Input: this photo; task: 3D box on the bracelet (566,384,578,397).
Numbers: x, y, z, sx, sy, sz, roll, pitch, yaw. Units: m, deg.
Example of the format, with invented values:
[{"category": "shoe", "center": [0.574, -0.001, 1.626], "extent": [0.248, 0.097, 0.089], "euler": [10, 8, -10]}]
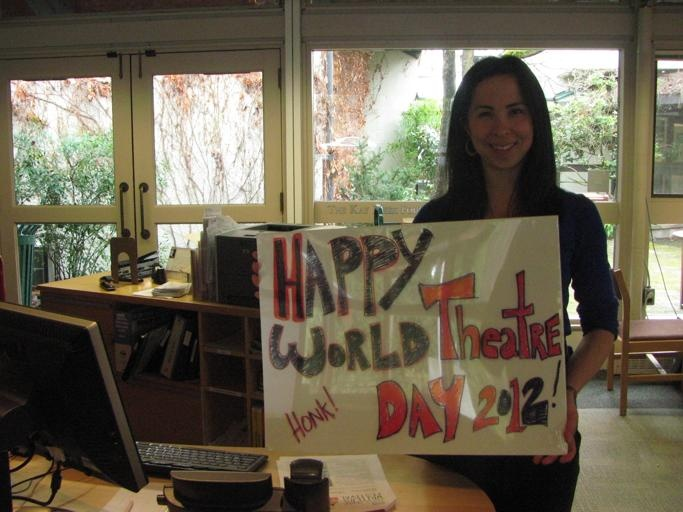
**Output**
[{"category": "bracelet", "center": [0.691, 0.396, 1.749], "extent": [0.009, 0.035, 0.032], "euler": [-41, 21, -8]}]

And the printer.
[{"category": "printer", "center": [-0.366, 0.026, 3.044], "extent": [0.593, 0.356, 0.602], "euler": [-9, 16, -34]}]

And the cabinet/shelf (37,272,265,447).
[{"category": "cabinet/shelf", "center": [-0.763, 0.473, 2.595], "extent": [0.795, 0.718, 0.276], "euler": [5, 9, 19]}]
